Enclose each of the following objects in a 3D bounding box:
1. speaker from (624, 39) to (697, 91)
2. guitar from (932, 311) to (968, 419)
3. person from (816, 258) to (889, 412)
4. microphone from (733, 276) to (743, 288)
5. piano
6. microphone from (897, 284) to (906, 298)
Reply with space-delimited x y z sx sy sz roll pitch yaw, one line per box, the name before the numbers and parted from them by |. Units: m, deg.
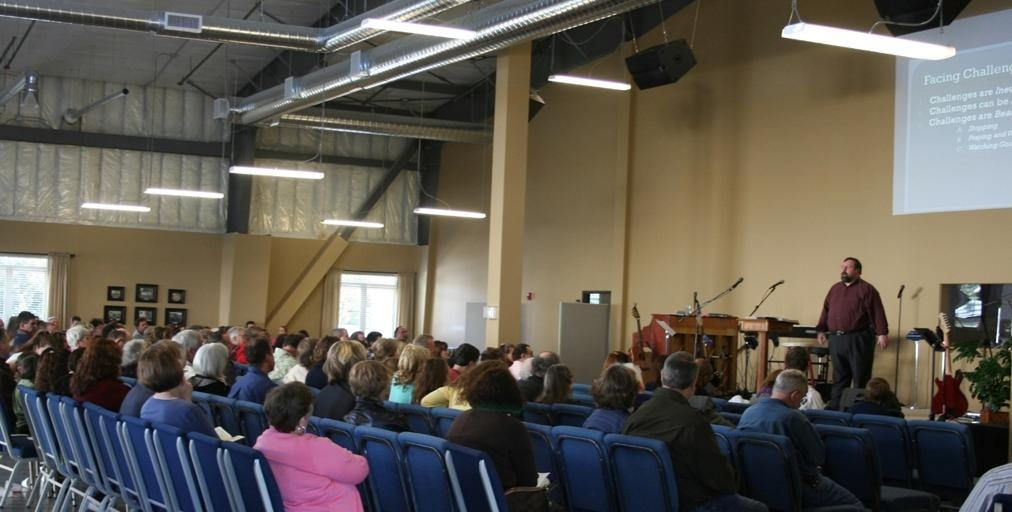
speaker | 3.214 -3.972 16.399 1.691 1.235 0.996 0 -1 1
guitar | 8.087 1.998 14.450 0.436 1.790 0.491 3 1 13
person | 6.388 1.292 14.580 1.091 2.833 1.032 1 3 37
microphone | 5.139 0.567 17.602 0.160 0.175 0.804 -20 -9 6
piano | 3.426 1.811 14.952 1.761 1.546 0.894 0 3 -21
microphone | 7.943 0.698 16.023 0.170 0.278 0.382 -2 -7 25
